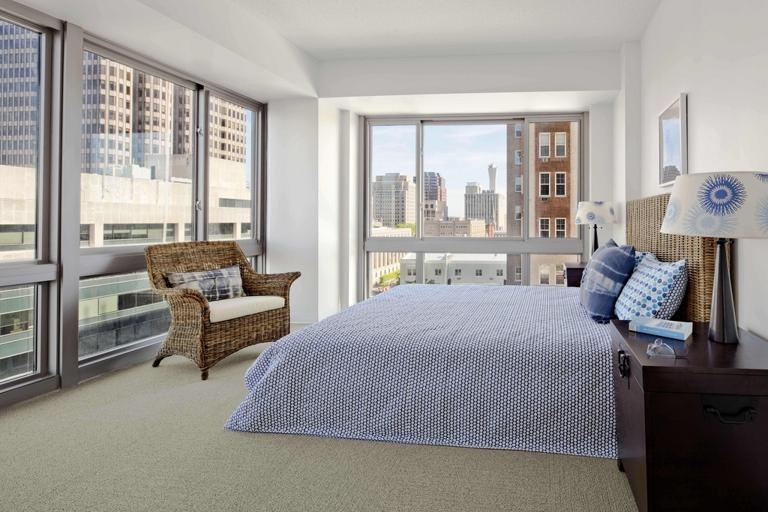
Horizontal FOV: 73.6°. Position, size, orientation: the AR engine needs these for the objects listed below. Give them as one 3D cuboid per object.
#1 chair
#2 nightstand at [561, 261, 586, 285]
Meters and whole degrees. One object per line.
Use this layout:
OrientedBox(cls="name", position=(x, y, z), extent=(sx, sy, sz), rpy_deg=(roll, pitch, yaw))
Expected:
OrientedBox(cls="chair", position=(-1.547, 0.426, 4.780), extent=(0.802, 1.117, 1.313), rpy_deg=(0, 3, 26))
OrientedBox(cls="nightstand", position=(2.054, 0.106, 5.558), extent=(0.205, 0.250, 0.383), rpy_deg=(0, 2, 11))
